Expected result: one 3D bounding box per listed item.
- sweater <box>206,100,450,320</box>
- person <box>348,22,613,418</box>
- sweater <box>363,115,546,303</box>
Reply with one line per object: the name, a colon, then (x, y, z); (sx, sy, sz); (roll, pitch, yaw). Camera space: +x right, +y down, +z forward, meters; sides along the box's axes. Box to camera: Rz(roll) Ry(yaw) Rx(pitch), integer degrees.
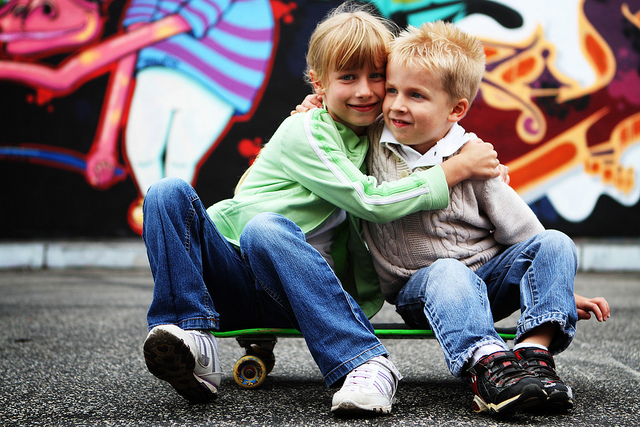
sweater: (0.022, -0.025, 2.388); (0.918, 0.741, 0.358); (10, 26, 2)
person: (0.572, -0.051, 2.295); (0.935, 1.434, 1.064); (-3, -2, -26)
sweater: (0.430, -0.025, 2.442); (0.863, 0.732, 0.461); (-2, 15, 11)
